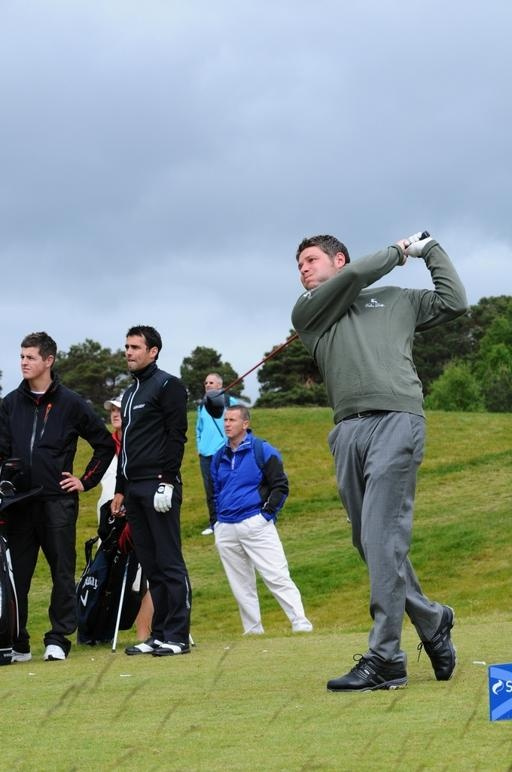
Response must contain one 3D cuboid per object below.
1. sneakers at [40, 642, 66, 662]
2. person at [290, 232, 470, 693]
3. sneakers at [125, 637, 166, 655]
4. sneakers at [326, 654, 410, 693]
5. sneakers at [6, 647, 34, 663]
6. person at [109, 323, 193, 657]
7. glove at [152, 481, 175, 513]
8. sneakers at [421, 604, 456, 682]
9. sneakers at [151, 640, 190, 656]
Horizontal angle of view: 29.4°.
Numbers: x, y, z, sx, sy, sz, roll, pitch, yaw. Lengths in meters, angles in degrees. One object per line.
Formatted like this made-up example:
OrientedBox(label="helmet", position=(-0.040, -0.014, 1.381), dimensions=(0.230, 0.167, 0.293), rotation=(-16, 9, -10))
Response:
OrientedBox(label="sneakers", position=(-1.247, 1.654, 6.021), dimensions=(0.196, 0.111, 0.306), rotation=(0, -15, -1))
OrientedBox(label="person", position=(0.626, 0.240, 4.354), dimensions=(0.817, 2.047, 0.792), rotation=(-8, -5, 6))
OrientedBox(label="sneakers", position=(-0.688, 1.620, 6.018), dimensions=(0.189, 0.056, 0.096), rotation=(8, -14, -26))
OrientedBox(label="sneakers", position=(0.472, 1.190, 3.990), dimensions=(0.357, 0.131, 0.127), rotation=(3, -12, -13))
OrientedBox(label="sneakers", position=(-1.477, 1.702, 6.122), dimensions=(0.224, 0.083, 0.076), rotation=(6, -9, -3))
OrientedBox(label="person", position=(-0.652, 0.640, 6.264), dimensions=(0.558, 2.108, 0.866), rotation=(-7, -5, -8))
OrientedBox(label="glove", position=(-0.561, 0.697, 6.090), dimensions=(0.100, 0.162, 0.145), rotation=(13, -15, 9))
OrientedBox(label="sneakers", position=(0.786, 1.110, 4.172), dimensions=(0.152, 0.300, 0.113), rotation=(13, -23, -31))
OrientedBox(label="sneakers", position=(-0.497, 1.588, 5.833), dimensions=(0.080, 0.059, 0.207), rotation=(-11, -19, 37))
